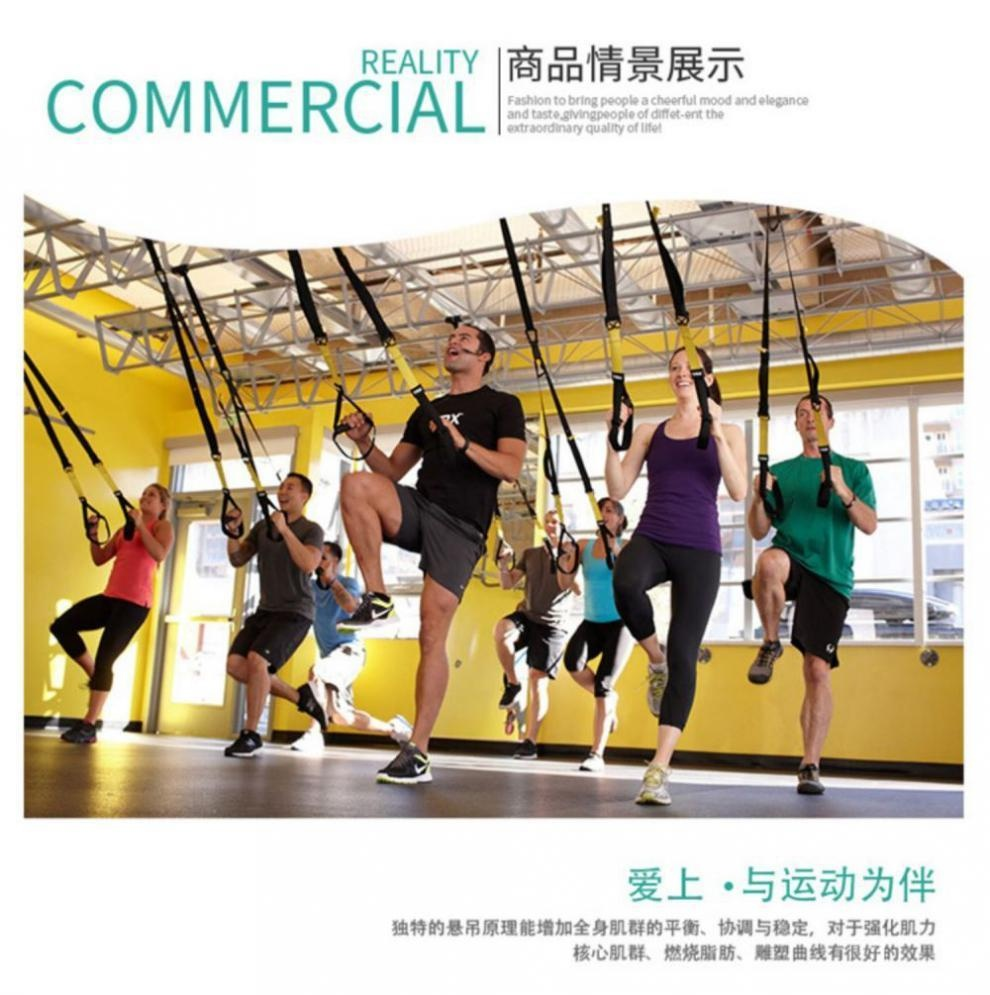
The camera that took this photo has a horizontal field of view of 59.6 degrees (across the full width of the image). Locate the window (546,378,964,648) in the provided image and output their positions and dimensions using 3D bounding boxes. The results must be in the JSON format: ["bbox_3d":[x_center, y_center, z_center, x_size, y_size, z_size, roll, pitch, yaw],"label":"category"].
[{"bbox_3d":[1.855,0.116,5.299,2.678,1.584,0.188,-2,-19,13],"label":"window"}]

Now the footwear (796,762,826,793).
[{"bbox_3d":[1.201,1.061,3.285,0.071,0.079,0.165,-2,-16,11],"label":"footwear"}]

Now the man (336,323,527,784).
[{"bbox_3d":[-0.238,0.103,2.753,0.638,1.478,0.450,6,-17,6],"label":"man"}]

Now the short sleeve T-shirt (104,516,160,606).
[{"bbox_3d":[-2.252,0.410,5.463,0.403,0.484,0.276,-2,-15,39],"label":"short sleeve T-shirt"}]

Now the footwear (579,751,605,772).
[{"bbox_3d":[0.552,1.499,4.970,0.098,0.114,0.271,-6,-16,19],"label":"footwear"}]

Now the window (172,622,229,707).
[{"bbox_3d":[-3.364,1.875,9.966,0.829,0.958,0.100,-3,-10,25],"label":"window"}]

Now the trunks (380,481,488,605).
[{"bbox_3d":[-0.171,0.127,2.671,0.341,0.341,0.144,-7,5,-12],"label":"trunks"}]

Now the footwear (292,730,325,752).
[{"bbox_3d":[-1.303,1.673,6.057,0.149,0.169,0.367,-2,-15,15],"label":"footwear"}]

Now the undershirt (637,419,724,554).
[{"bbox_3d":[0.603,-0.034,2.736,0.255,0.452,0.206,4,-15,21],"label":"undershirt"}]

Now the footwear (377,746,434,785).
[{"bbox_3d":[-0.248,0.811,2.619,0.191,0.115,0.085,13,-22,-29],"label":"footwear"}]

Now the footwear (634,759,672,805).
[{"bbox_3d":[0.437,0.781,2.379,0.105,0.106,0.135,1,-9,-1],"label":"footwear"}]

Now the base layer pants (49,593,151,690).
[{"bbox_3d":[-2.420,0.864,5.284,0.576,0.574,0.344,-5,-11,32],"label":"base layer pants"}]

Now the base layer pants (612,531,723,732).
[{"bbox_3d":[0.521,0.389,2.608,0.312,0.581,0.339,-3,-10,23],"label":"base layer pants"}]

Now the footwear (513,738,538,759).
[{"bbox_3d":[0.243,1.951,6.774,0.133,0.147,0.348,-5,-19,18],"label":"footwear"}]

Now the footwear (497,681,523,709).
[{"bbox_3d":[0.130,1.461,6.575,0.126,0.149,0.351,-4,2,12],"label":"footwear"}]

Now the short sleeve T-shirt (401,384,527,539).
[{"bbox_3d":[-0.126,-0.103,2.867,0.451,0.523,0.279,0,-21,22],"label":"short sleeve T-shirt"}]
